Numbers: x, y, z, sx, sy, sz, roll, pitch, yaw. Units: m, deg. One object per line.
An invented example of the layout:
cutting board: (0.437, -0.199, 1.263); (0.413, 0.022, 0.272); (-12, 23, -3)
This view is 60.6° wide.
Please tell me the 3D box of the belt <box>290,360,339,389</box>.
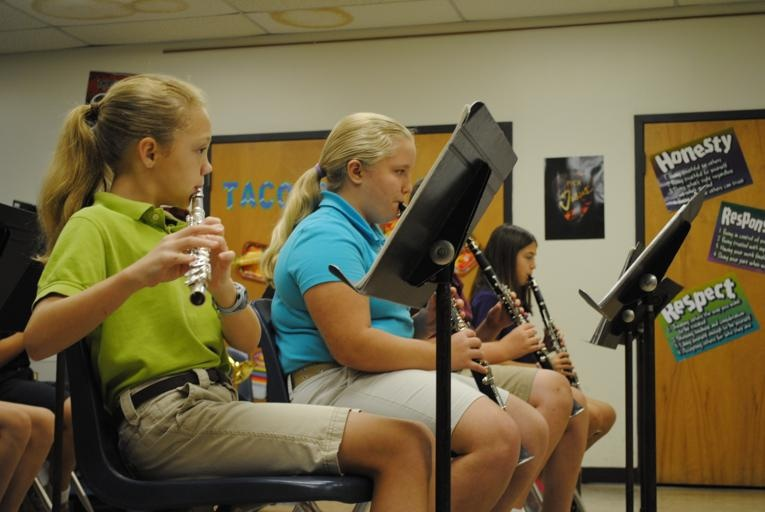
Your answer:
belt: (-0.255, 0.426, 2.407); (0.142, 0.052, 0.105); (-21, -9, 25)

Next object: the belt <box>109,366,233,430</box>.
belt: (-0.659, 0.398, 2.075); (0.219, 0.052, 0.221); (-26, 3, 22)
